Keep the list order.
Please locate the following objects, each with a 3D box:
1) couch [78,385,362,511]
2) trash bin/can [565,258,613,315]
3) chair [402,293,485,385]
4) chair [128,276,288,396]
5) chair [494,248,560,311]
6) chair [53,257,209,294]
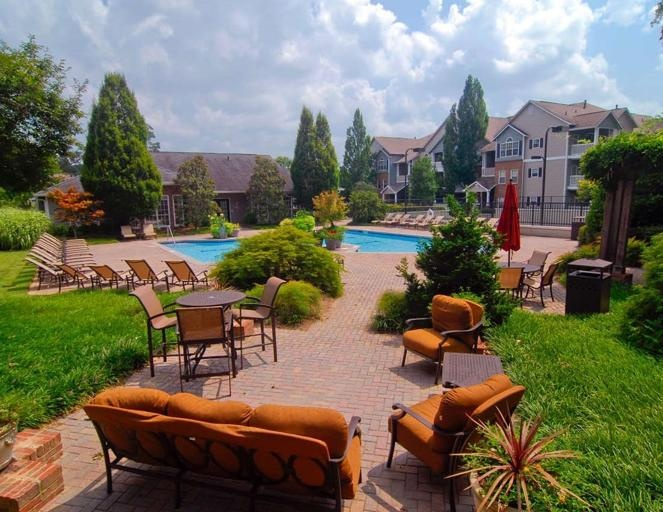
[{"bbox_3d":[-1.165,2.077,4.773,2.789,1.246,0.464,0,9,12],"label":"couch"},{"bbox_3d":[5.712,0.735,10.030,1.091,1.378,1.026,7,11,35],"label":"trash bin/can"},{"bbox_3d":[1.993,1.413,8.172,1.457,1.578,1.265,-3,3,-32],"label":"chair"},{"bbox_3d":[-2.244,1.363,8.298,2.347,2.013,2.079,4,10,-29],"label":"chair"},{"bbox_3d":[5.227,0.579,11.638,1.096,1.178,3.478,3,10,30],"label":"chair"},{"bbox_3d":[-5.867,0.466,13.835,3.971,1.108,2.388,5,9,-11],"label":"chair"}]
